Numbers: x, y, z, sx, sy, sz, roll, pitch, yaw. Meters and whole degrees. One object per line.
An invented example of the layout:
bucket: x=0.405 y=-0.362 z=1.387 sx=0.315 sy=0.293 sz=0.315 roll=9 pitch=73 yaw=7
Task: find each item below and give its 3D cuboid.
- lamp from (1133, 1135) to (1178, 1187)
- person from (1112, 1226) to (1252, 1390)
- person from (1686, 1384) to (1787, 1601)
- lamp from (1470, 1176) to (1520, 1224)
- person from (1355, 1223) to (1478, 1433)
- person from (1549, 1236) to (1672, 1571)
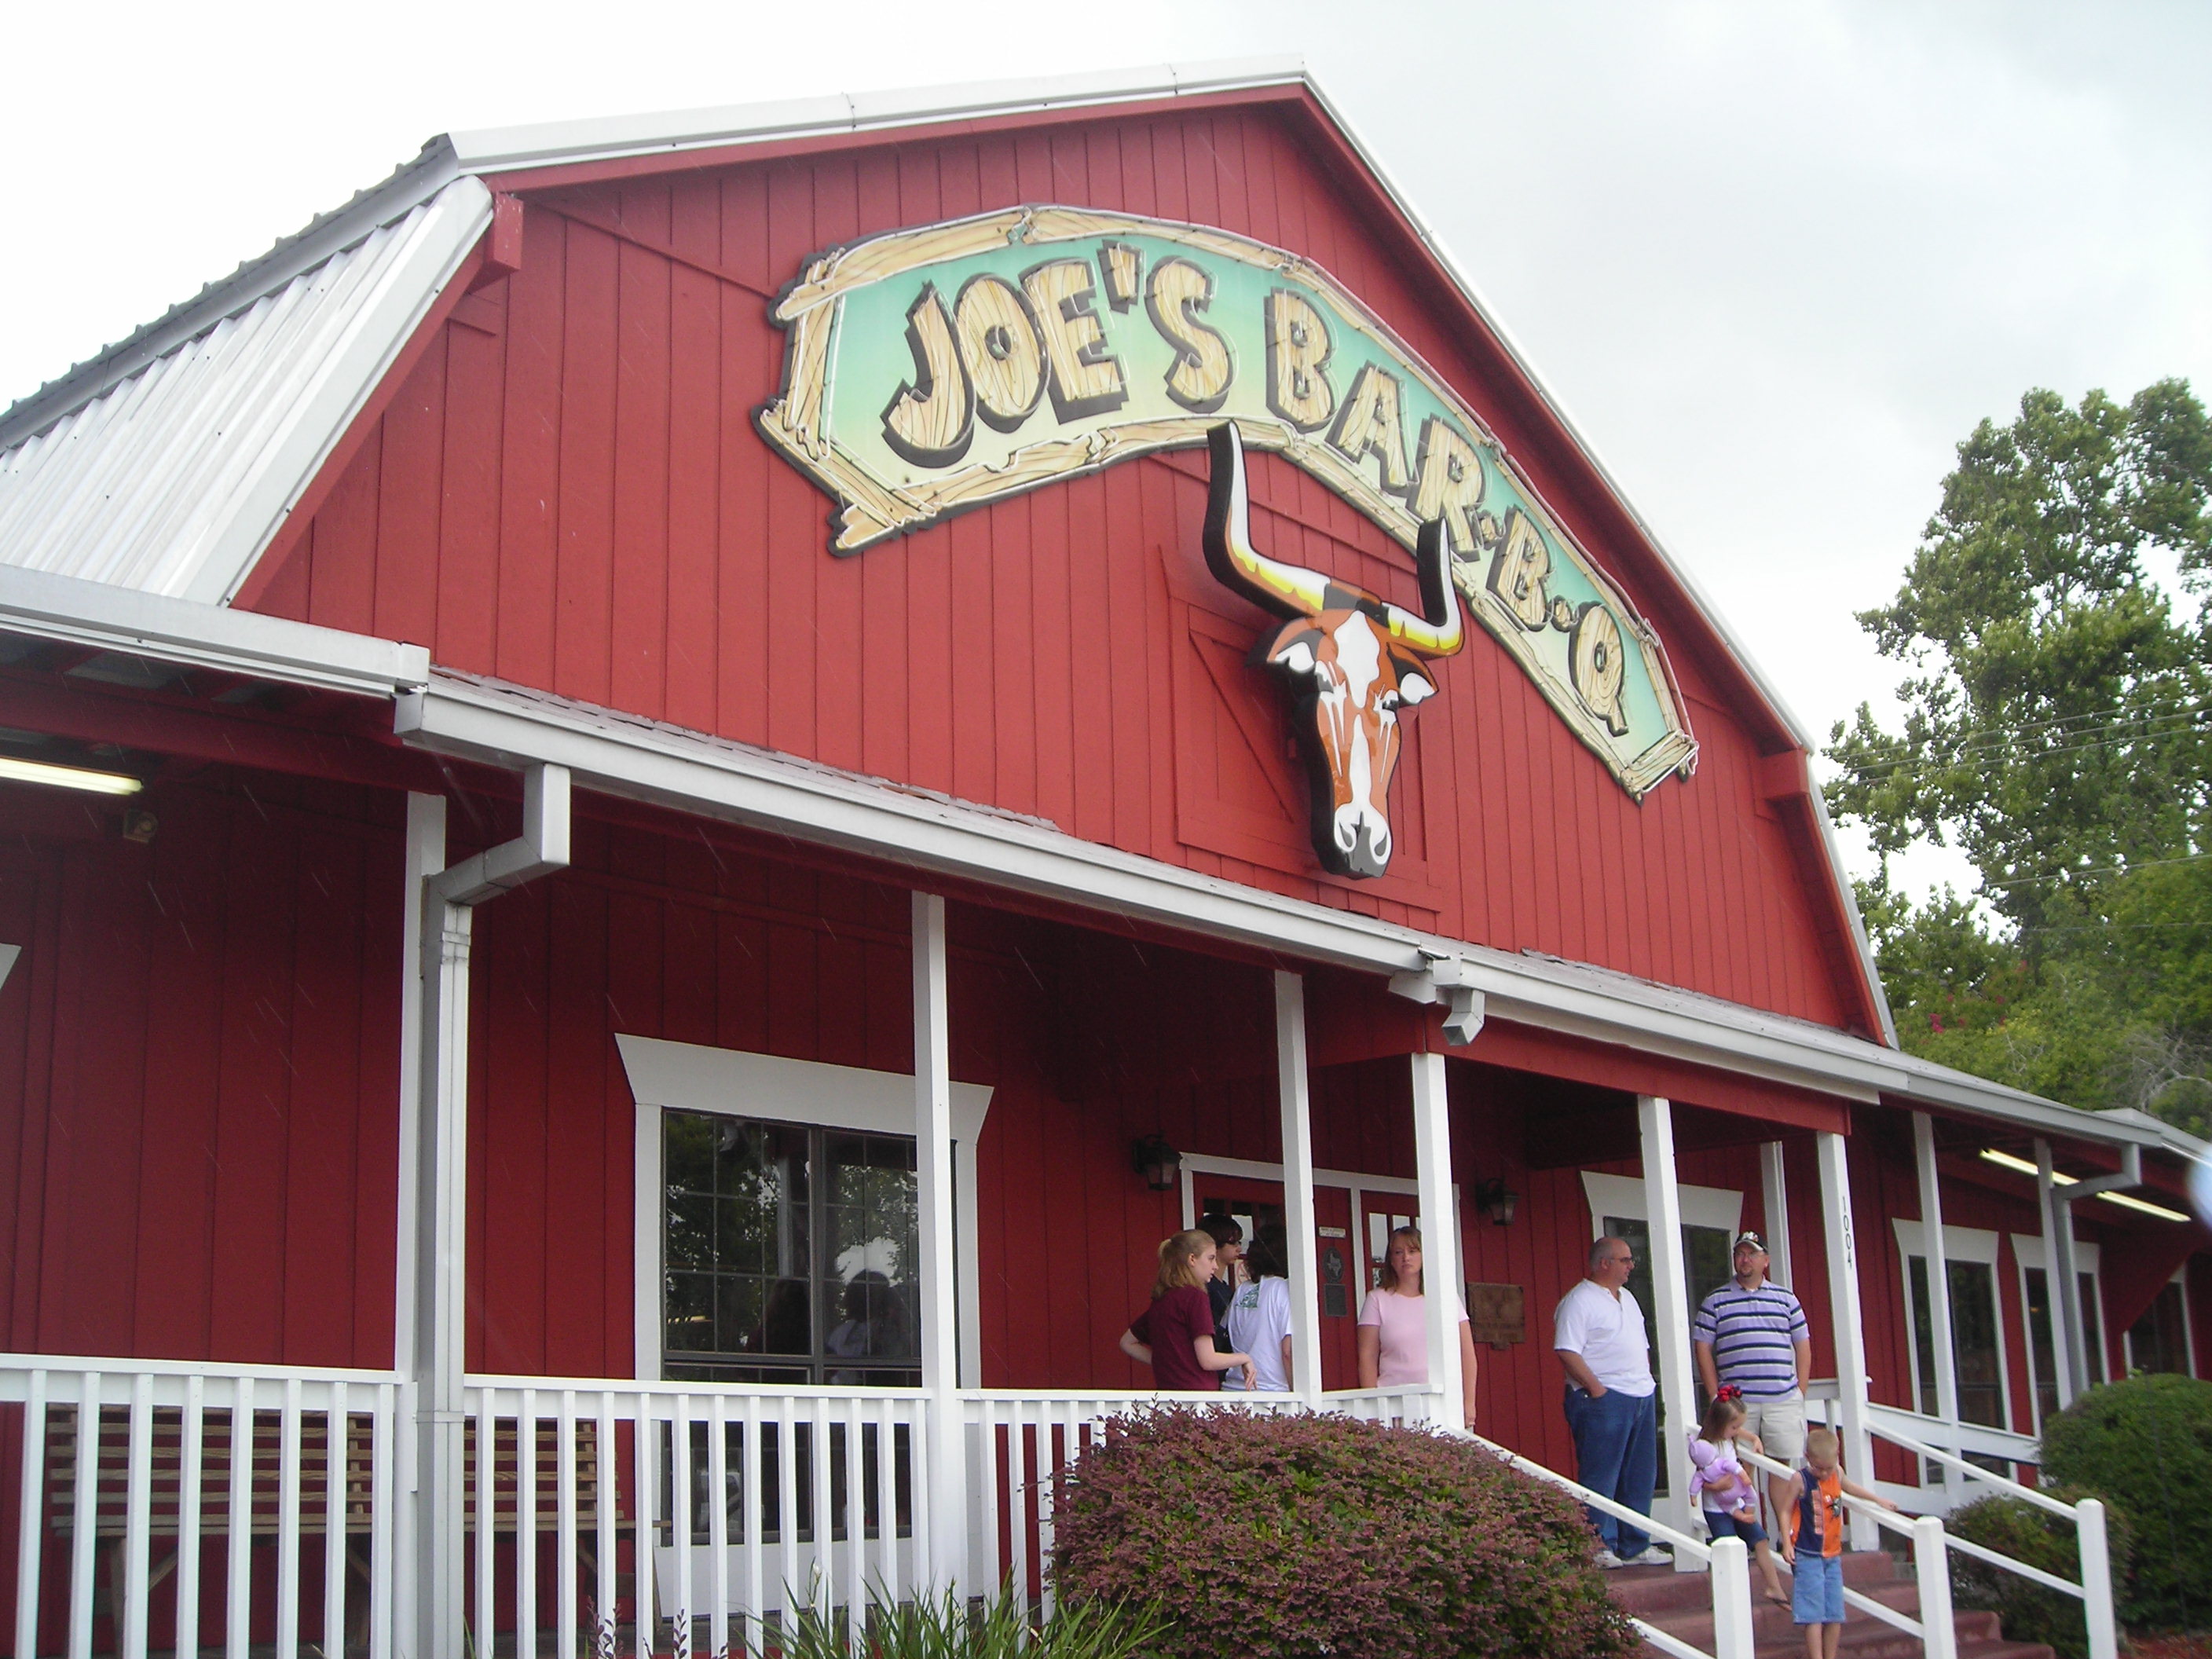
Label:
lamp: x=0.318 y=2.163 z=15.163 sx=0.246 sy=0.349 sz=0.303 roll=-10 pitch=-14 yaw=42
person: x=0.407 y=2.652 z=12.830 sx=0.384 sy=0.837 sz=0.378 roll=-5 pitch=-18 yaw=14
person: x=4.072 y=4.272 z=15.008 sx=0.446 sy=1.232 sz=1.249 roll=-9 pitch=-20 yaw=24
lamp: x=2.890 y=2.828 z=17.729 sx=0.303 sy=0.350 sz=0.584 roll=-1 pitch=-19 yaw=6
person: x=1.672 y=2.793 z=13.711 sx=0.401 sy=0.997 sz=0.680 roll=-2 pitch=-18 yaw=5
person: x=3.110 y=3.522 z=14.565 sx=0.538 sy=1.981 sz=1.044 roll=-4 pitch=-18 yaw=11
